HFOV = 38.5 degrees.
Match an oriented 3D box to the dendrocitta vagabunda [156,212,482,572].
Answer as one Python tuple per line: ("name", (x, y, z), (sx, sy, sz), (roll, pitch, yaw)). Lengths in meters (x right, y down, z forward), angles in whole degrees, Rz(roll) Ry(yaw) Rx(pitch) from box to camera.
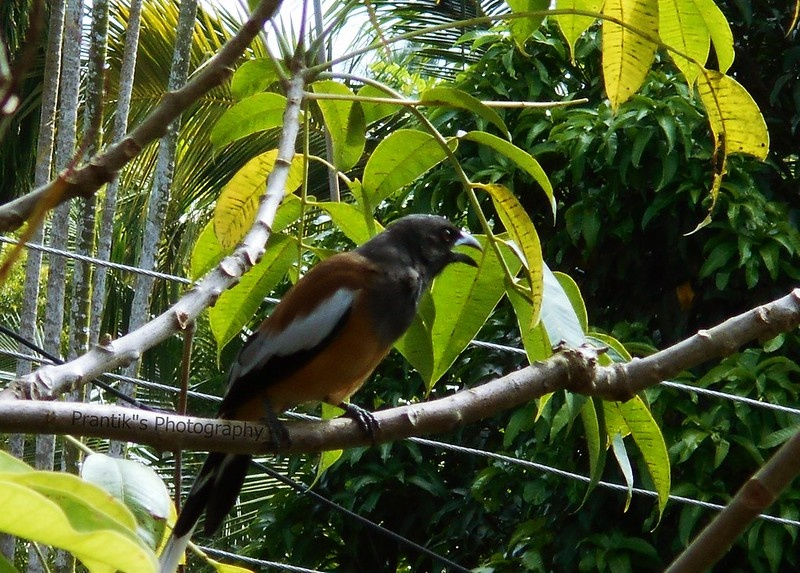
("dendrocitta vagabunda", (-0.380, 0.473, 5.861), (1.276, 2.160, 0.884), (14, -10, -11))
